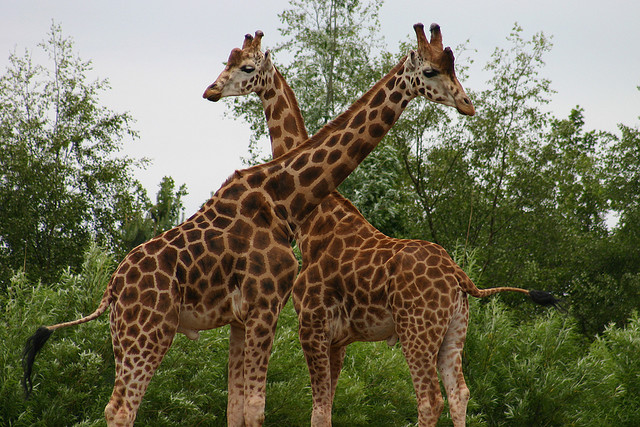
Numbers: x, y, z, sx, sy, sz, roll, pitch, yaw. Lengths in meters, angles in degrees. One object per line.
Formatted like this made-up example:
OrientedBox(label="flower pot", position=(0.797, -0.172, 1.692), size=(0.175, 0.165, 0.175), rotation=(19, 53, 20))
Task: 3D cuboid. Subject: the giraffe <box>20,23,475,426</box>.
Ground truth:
OrientedBox(label="giraffe", position=(-0.545, 0.186, 12.854), size=(6.533, 6.341, 2.335), rotation=(-12, -31, 22))
